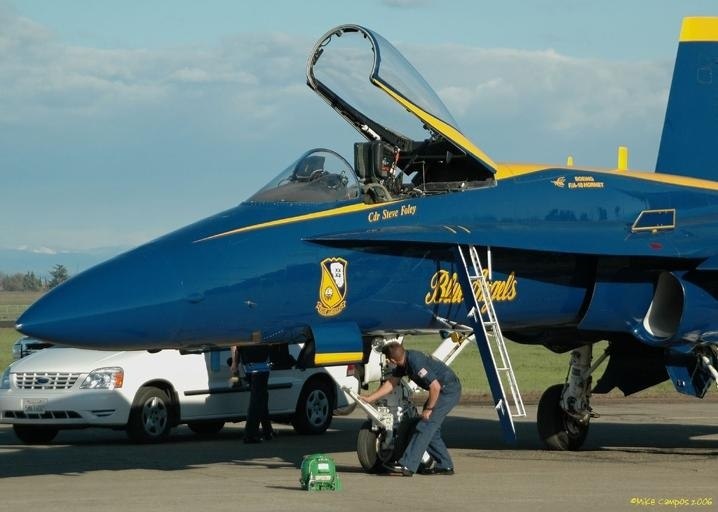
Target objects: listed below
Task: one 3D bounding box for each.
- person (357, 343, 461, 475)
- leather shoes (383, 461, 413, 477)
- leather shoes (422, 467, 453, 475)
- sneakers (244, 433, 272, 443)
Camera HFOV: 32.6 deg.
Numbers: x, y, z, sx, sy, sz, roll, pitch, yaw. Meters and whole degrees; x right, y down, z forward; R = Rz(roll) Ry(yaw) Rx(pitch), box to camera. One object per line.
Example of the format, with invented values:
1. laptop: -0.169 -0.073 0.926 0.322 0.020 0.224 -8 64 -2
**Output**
1. person: 0.859 2.188 17.574 1.199 1.894 0.510 -1 -5 2
2. leather shoes: 0.572 3.020 17.325 0.494 0.185 0.159 17 -8 -3
3. leather shoes: 1.139 3.085 17.586 0.427 0.137 0.138 4 -5 1
4. sneakers: -1.676 3.113 20.903 0.548 0.171 0.155 -6 8 -19
